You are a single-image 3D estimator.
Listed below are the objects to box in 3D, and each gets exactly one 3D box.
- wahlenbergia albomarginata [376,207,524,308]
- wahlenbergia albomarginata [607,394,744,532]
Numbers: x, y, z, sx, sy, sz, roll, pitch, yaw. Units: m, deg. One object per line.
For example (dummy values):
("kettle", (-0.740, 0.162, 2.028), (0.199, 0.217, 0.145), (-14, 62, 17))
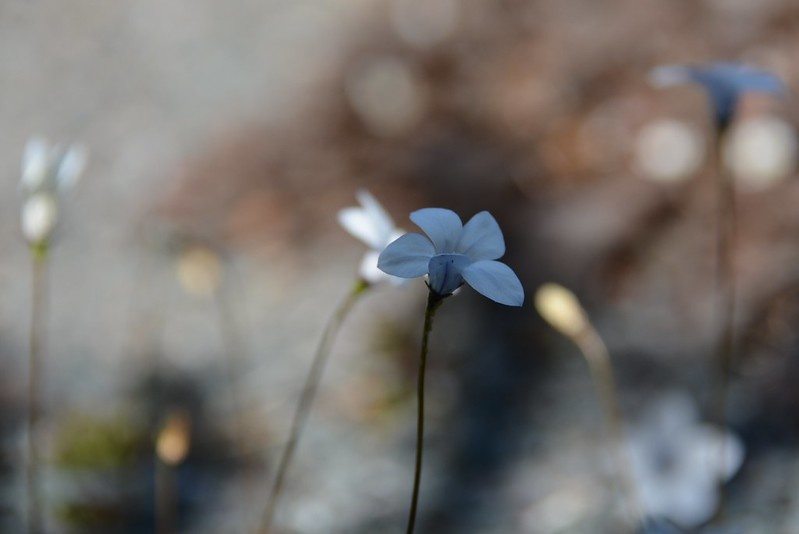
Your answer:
("wahlenbergia albomarginata", (0.035, 0.003, 1.030), (0.124, 0.098, 0.098), (-1, -19, -17))
("wahlenbergia albomarginata", (0.278, 0.186, 1.089), (0.109, 0.126, 0.036), (-2, -17, -13))
